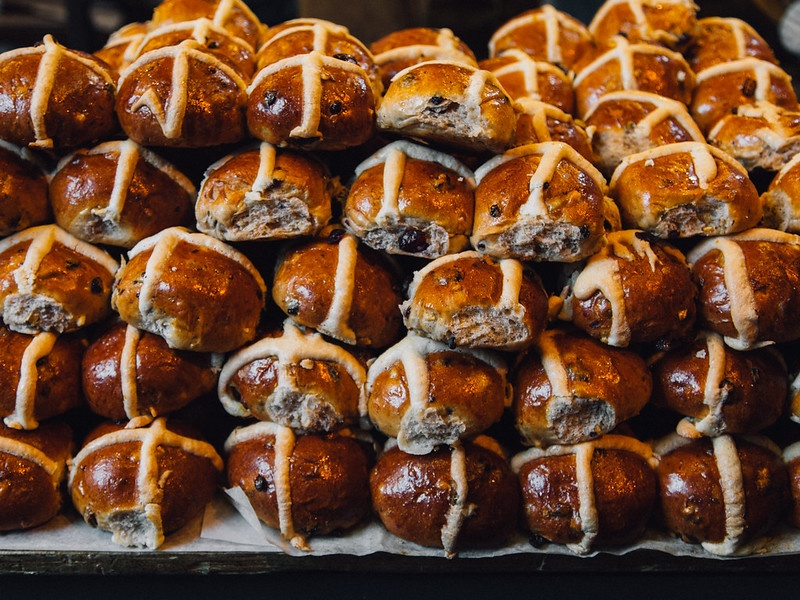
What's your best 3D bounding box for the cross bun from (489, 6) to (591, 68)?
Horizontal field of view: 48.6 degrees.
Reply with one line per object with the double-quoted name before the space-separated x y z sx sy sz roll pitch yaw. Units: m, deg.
"cross bun" 0.635 -1.131 3.826 0.345 0.112 0.350 21 63 15
